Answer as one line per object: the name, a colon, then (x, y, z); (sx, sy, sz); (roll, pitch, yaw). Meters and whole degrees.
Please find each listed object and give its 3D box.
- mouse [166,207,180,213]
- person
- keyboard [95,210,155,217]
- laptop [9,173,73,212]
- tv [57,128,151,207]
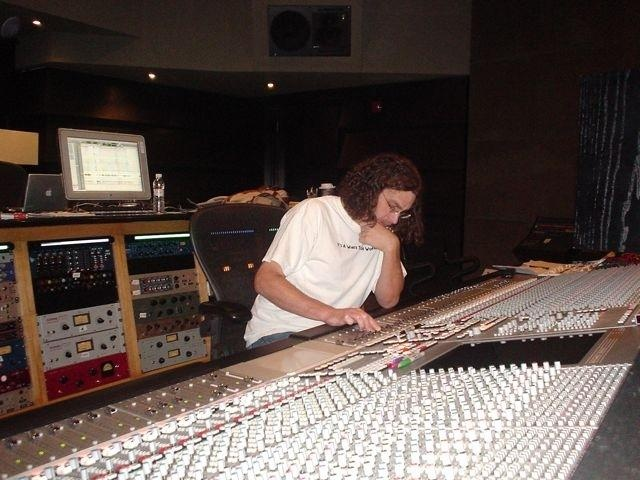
mouse: (-0.982, -0.203, 3.111); (0.115, 0.026, 0.102); (-2, 6, -29)
person: (0.041, -0.005, 1.804); (0.509, 0.671, 0.796); (2, 9, 25)
keyboard: (-1.097, -0.155, 2.659); (0.294, 0.026, 0.507); (-3, 7, -18)
laptop: (-1.541, -0.267, 2.634); (0.163, 0.210, 0.314); (1, 8, 14)
tv: (-1.350, -0.468, 2.955); (0.164, 0.427, 0.576); (4, 10, 33)
